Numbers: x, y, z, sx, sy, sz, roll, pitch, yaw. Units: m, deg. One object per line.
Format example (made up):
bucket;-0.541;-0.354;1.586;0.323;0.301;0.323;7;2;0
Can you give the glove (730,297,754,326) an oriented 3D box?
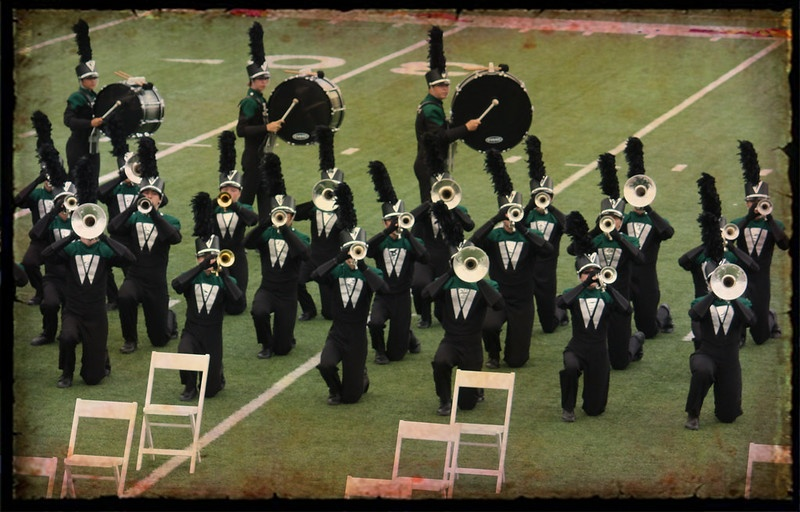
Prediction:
glove;4.774;0.784;13.716;0.137;0.387;0.333;-34;-19;12

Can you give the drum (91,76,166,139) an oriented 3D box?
drum;-4.954;-2.681;18.192;1.196;1.120;0.622;3;2;-7

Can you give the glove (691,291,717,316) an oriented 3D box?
glove;4.207;0.689;13.799;0.323;0.242;0.216;4;2;30

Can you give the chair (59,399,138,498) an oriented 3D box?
chair;-3.923;2.437;12.973;0.880;1.203;1.311;3;2;-15
